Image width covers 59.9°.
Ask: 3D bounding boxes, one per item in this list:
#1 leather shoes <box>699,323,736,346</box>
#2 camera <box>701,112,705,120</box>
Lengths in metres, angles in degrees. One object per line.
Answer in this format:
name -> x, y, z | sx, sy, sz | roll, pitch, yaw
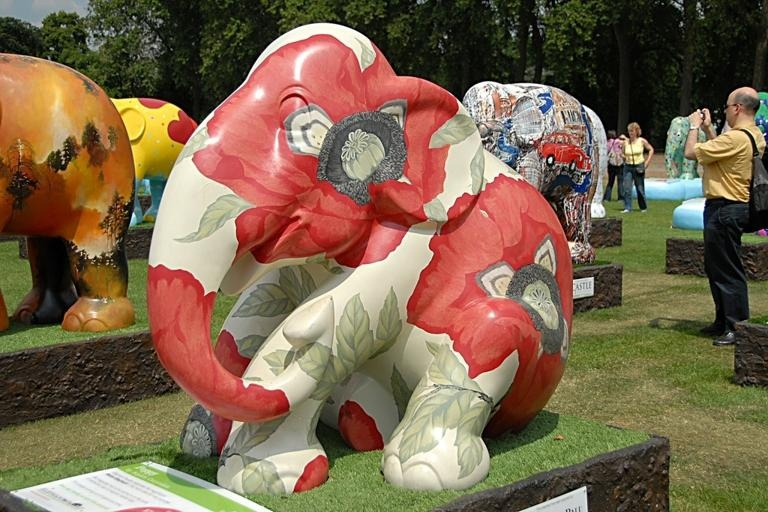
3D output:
leather shoes -> 2.807, 0.642, 5.559 | 0.462, 0.205, 0.160 | 4, -4, -37
camera -> 2.457, -1.085, 5.137 | 0.034, 0.053, 0.017 | 7, 1, 10
